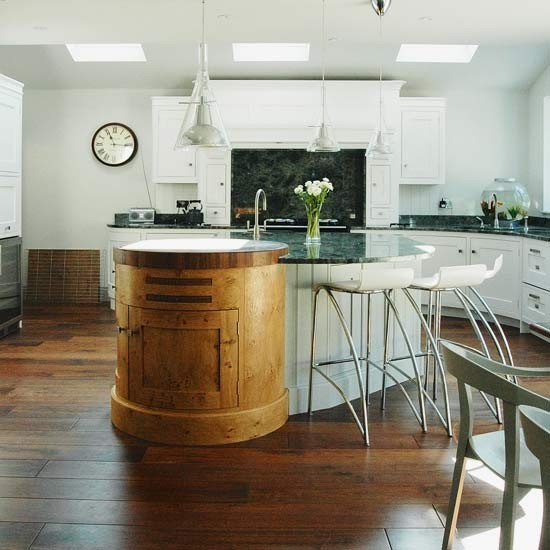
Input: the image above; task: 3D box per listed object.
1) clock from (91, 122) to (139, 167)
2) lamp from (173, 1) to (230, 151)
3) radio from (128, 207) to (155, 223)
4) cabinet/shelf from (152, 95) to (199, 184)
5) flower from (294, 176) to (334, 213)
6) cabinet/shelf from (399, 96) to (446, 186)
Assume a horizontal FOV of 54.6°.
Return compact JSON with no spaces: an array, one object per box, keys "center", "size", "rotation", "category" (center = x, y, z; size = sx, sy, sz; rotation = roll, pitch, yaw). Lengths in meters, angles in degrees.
[{"center":[-2.058,-1.719,6.842],"size":[0.539,0.571,0.059],"rotation":[0,9,1],"category":"clock"},{"center":[-0.401,-0.970,2.848],"size":[0.234,0.562,0.228],"rotation":[-8,11,-42],"category":"lamp"},{"center":[-1.639,-0.731,6.549],"size":[0.290,0.216,0.177],"rotation":[0,1,-5],"category":"radio"},{"center":[-1.148,-1.558,6.745],"size":[0.729,1.104,0.727],"rotation":[3,-14,-13],"category":"cabinet/shelf"},{"center":[0.289,-0.534,3.938],"size":[0.189,0.235,0.236],"rotation":[1,-6,-6],"category":"flower"},{"center":[1.840,-1.599,6.563],"size":[0.569,0.989,0.482],"rotation":[1,-3,17],"category":"cabinet/shelf"}]
